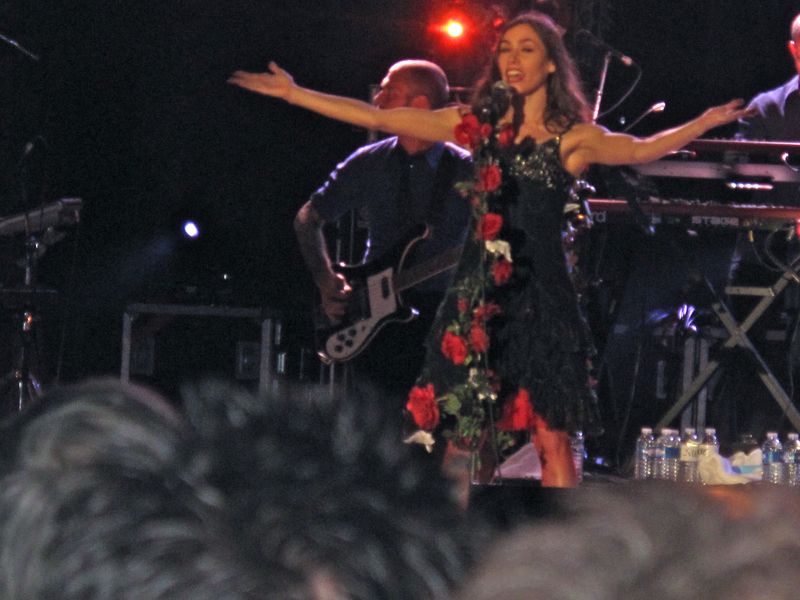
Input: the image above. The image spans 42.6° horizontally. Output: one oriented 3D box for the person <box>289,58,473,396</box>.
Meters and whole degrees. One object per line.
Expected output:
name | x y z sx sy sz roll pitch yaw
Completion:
person | -0.045 -0.367 4.836 0.708 1.643 0.176 28 26 21
